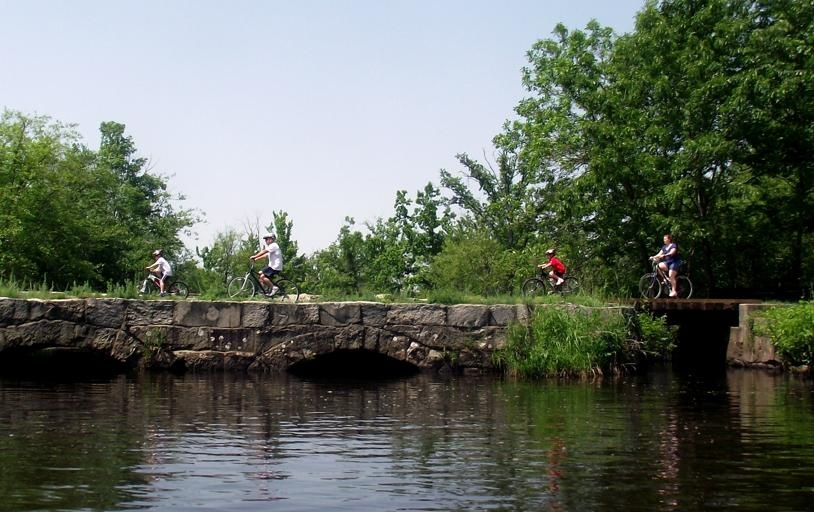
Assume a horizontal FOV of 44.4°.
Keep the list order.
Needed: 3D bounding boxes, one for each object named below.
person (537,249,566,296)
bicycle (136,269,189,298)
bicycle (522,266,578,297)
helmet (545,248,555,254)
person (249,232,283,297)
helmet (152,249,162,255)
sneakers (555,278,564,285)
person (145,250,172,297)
[{"bbox_3d":[5.521,0.471,37.431,0.825,1.473,1.571,2,13,7],"label":"person"},{"bbox_3d":[-10.231,1.184,41.156,2.519,1.453,1.211,5,0,-2],"label":"bicycle"},{"bbox_3d":[5.357,1.058,37.621,1.998,1.151,0.972,0,5,8],"label":"bicycle"},{"bbox_3d":[5.275,-0.108,37.102,0.216,0.099,0.298,-17,-1,-33],"label":"helmet"},{"bbox_3d":[-4.938,0.244,35.979,1.327,2.358,1.149,15,24,39],"label":"person"},{"bbox_3d":[-10.608,-0.122,42.172,0.431,0.219,0.511,-1,1,14],"label":"helmet"},{"bbox_3d":[5.627,0.995,37.016,0.253,0.285,0.501,3,13,10],"label":"sneakers"},{"bbox_3d":[-9.311,0.562,37.607,0.978,1.707,1.041,-11,26,-40],"label":"person"}]
